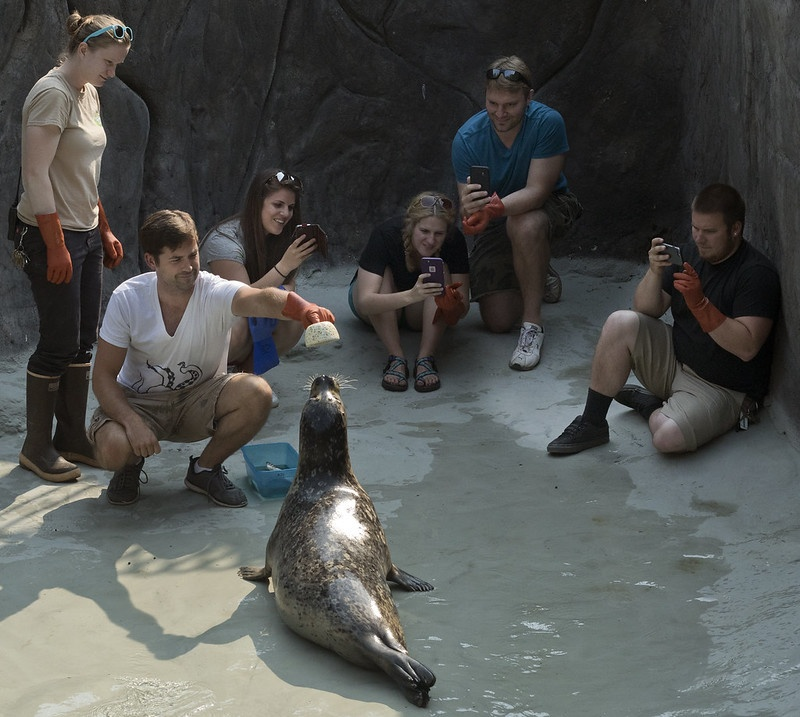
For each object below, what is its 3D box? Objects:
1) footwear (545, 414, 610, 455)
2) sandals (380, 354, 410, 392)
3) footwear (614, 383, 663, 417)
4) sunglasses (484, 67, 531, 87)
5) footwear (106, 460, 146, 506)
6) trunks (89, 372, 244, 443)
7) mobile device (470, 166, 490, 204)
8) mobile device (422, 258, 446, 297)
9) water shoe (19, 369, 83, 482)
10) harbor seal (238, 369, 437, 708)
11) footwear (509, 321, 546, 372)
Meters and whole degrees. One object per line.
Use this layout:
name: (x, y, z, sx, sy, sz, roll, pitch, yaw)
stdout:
footwear: (0.918, 0.394, 4.307, 0.419, 0.159, 0.138, -15, 14, -2)
sandals: (-0.027, 0.106, 5.185, 0.238, 0.210, 0.622, 0, 4, 1)
footwear: (1.289, 0.229, 4.464, 0.112, 0.125, 0.313, -30, 29, -11)
sunglasses: (0.675, -1.713, 4.990, 0.273, 0.099, 0.148, 1, 17, -1)
footwear: (-1.272, 0.559, 3.804, 0.150, 0.120, 0.353, 9, 22, -12)
trunks: (-1.024, 0.248, 3.787, 0.695, 0.325, 0.217, -8, 57, -15)
mobile device: (0.490, -1.088, 4.991, 0.105, 0.150, 0.133, -1, 18, -6)
mobile device: (0.201, -0.491, 4.788, 0.127, 0.180, 0.145, 0, 19, -4)
water shoe: (-1.660, 0.328, 3.868, 0.312, 0.486, 0.248, 22, 26, 36)
harbor seal: (-0.242, 0.622, 2.891, 0.560, 0.387, 1.053, -9, 35, -19)
footwear: (0.833, -0.084, 5.307, 0.183, 0.274, 0.347, 6, 18, 13)
